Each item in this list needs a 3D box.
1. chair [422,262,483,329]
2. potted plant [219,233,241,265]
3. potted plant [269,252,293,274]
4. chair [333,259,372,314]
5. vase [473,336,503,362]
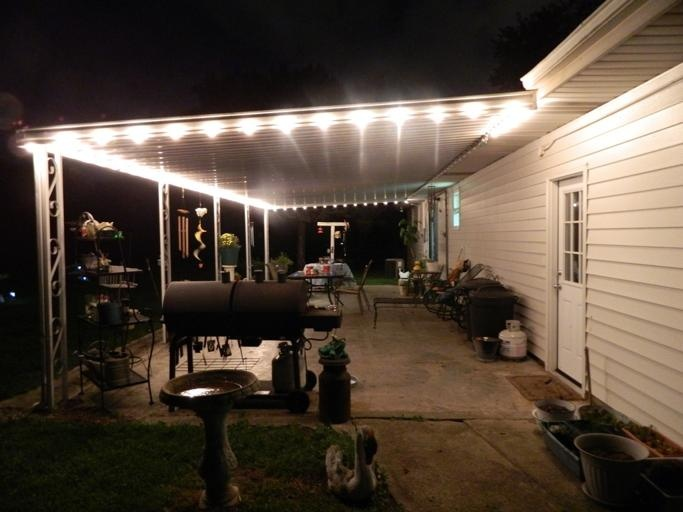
[{"bbox_3d":[2.517,0.846,11.314,1.501,1.147,0.826,-4,3,-13],"label":"chair"},{"bbox_3d":[-1.906,-0.097,9.085,0.485,0.659,0.471,0,0,-14],"label":"potted plant"},{"bbox_3d":[-1.845,0.227,16.429,0.667,0.745,0.644,-6,10,-43],"label":"potted plant"},{"bbox_3d":[0.202,0.726,13.550,1.145,1.509,1.079,1,4,10],"label":"chair"},{"bbox_3d":[2.261,1.443,8.415,0.346,0.228,0.337,-4,-5,37],"label":"vase"}]
